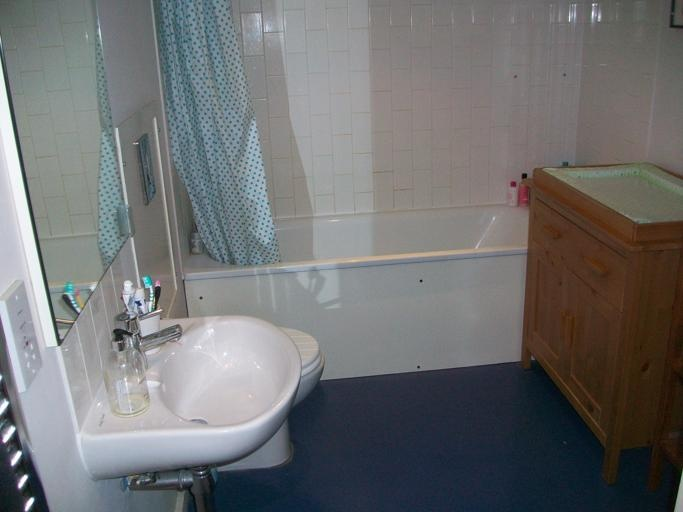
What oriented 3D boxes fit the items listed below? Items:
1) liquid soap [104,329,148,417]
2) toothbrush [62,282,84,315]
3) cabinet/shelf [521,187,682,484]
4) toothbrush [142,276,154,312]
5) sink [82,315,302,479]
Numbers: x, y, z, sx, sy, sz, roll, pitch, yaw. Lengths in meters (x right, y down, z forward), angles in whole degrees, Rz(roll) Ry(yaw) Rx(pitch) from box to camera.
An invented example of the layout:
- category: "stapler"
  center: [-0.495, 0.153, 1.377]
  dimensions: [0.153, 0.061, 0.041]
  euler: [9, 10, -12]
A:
- category: "liquid soap"
  center: [-0.587, 0.311, 1.398]
  dimensions: [0.105, 0.192, 0.147]
  euler: [-13, 22, -23]
- category: "toothbrush"
  center: [-0.643, 0.097, 1.241]
  dimensions: [0.074, 0.035, 0.023]
  euler: [42, 18, 24]
- category: "cabinet/shelf"
  center: [1.113, 0.347, 2.185]
  dimensions: [0.393, 1.068, 0.902]
  euler: [-2, 24, 1]
- category: "toothbrush"
  center: [-0.631, 0.127, 1.689]
  dimensions: [0.036, 0.175, 0.017]
  euler: [-6, -18, 2]
- category: "sink"
  center: [-0.414, 0.416, 1.487]
  dimensions: [0.405, 0.218, 0.517]
  euler: [-2, 19, -12]
